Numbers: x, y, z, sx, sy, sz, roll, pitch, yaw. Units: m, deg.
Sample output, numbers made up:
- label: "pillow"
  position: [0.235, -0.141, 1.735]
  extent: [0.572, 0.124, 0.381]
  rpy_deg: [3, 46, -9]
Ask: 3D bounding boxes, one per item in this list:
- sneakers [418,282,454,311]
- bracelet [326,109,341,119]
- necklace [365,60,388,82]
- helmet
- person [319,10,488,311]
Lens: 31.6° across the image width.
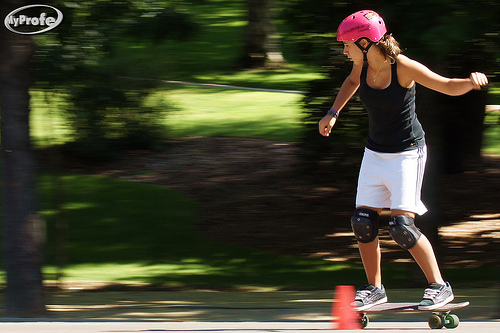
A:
- label: "sneakers"
  position: [1.775, 1.242, 8.505]
  extent: [0.348, 0.246, 0.128]
  rpy_deg: [-2, 10, 0]
- label: "bracelet"
  position: [0.812, -0.551, 8.987]
  extent: [0.177, 0.081, 0.131]
  rpy_deg: [10, -8, 12]
- label: "necklace"
  position: [1.238, -0.926, 8.533]
  extent: [0.036, 0.225, 0.090]
  rpy_deg: [30, 18, -42]
- label: "helmet"
  position: [1.093, -1.353, 8.547]
  extent: [0.594, 0.252, 0.325]
  rpy_deg: [-9, 14, 11]
- label: "person"
  position: [1.422, -0.089, 8.650]
  extent: [0.752, 2.892, 1.346]
  rpy_deg: [-14, 14, -41]
